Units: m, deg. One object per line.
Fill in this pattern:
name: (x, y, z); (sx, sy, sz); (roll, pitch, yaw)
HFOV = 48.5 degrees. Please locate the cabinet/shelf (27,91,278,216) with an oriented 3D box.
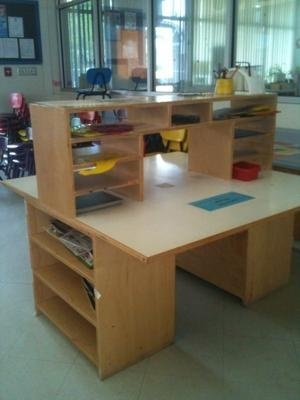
cabinet/shelf: (0.093, -0.304, 1.770); (1.351, 0.553, 0.423); (-10, 16, -39)
